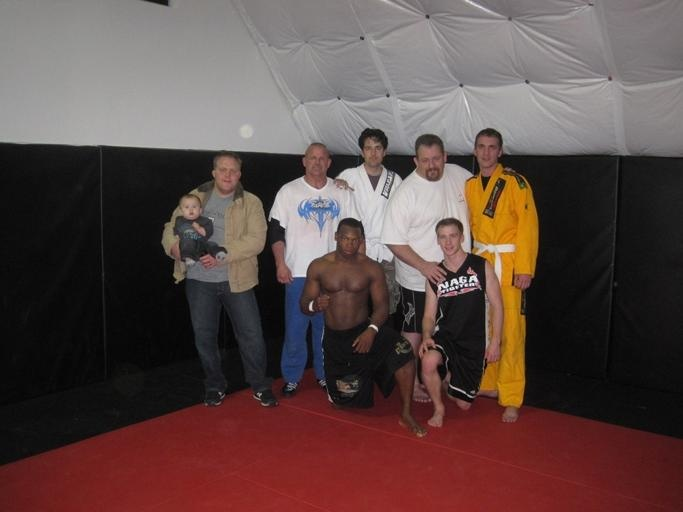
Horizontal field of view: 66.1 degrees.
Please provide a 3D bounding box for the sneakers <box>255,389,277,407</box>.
[{"bbox_3d":[-0.635,1.197,4.407,0.095,0.078,0.183,0,-1,-35],"label":"sneakers"}]

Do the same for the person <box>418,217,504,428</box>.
[{"bbox_3d":[0.918,0.499,4.177,0.660,1.572,0.420,-5,13,-22],"label":"person"}]

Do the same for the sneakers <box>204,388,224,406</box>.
[{"bbox_3d":[-1.067,1.190,4.406,0.180,0.112,0.131,-5,13,-22],"label":"sneakers"}]

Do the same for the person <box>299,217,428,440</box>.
[{"bbox_3d":[0.176,0.503,4.202,1.024,1.581,0.396,7,14,29],"label":"person"}]

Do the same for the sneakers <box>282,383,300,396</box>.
[{"bbox_3d":[-0.460,1.178,4.624,0.145,0.094,0.123,-3,13,-15],"label":"sneakers"}]

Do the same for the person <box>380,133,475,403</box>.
[{"bbox_3d":[0.802,0.150,4.607,0.942,2.338,0.673,-14,21,-33],"label":"person"}]

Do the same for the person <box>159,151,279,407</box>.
[{"bbox_3d":[-0.963,0.197,4.362,0.731,2.072,0.605,-3,12,-16],"label":"person"}]
